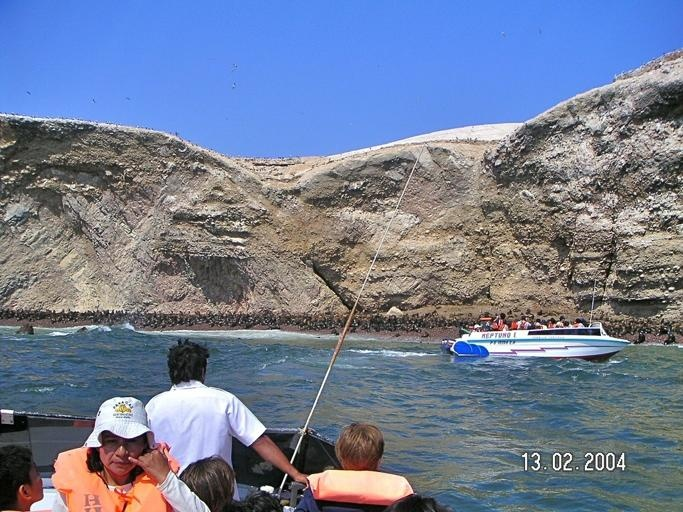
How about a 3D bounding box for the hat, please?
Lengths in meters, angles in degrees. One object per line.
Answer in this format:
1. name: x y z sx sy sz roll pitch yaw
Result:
1. hat: -1.684 1.258 4.031 0.492 0.364 0.255 -1 -10 -6
